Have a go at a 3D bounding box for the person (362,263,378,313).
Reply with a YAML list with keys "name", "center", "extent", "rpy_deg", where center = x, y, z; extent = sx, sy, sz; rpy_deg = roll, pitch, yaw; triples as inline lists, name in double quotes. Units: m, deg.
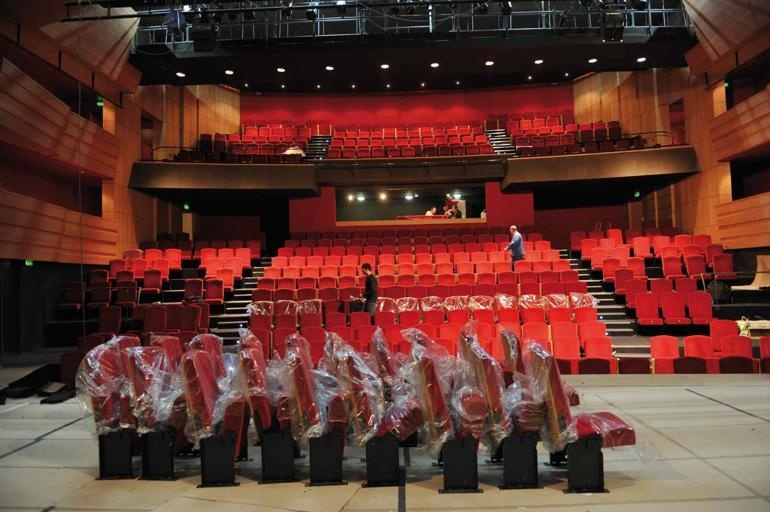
- name: "person"
  center: [-0.294, 0.630, 11.990]
  extent: [0.283, 1.044, 0.715]
  rpy_deg: [-1, -4, -2]
